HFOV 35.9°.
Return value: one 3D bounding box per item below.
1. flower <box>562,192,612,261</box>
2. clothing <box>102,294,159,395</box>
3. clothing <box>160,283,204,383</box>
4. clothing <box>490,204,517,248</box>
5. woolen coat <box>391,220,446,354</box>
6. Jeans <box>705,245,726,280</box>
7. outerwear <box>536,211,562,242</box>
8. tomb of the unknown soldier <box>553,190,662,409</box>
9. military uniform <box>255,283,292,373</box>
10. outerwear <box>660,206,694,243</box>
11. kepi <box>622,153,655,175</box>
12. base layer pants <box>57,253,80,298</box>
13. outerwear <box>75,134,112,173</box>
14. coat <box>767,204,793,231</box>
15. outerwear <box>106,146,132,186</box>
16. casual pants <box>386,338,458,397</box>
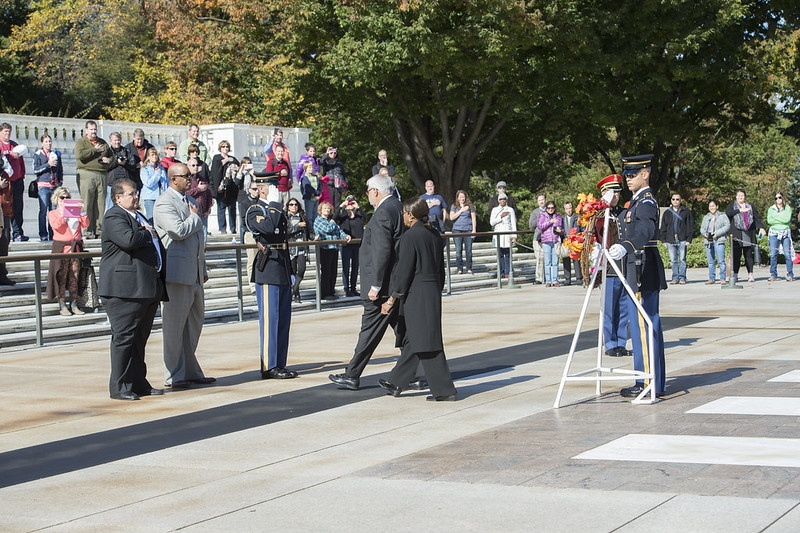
[{"bbox_3d":[2.667,-0.633,17.849,0.884,0.480,0.872,-5,45,-14],"label":"flower"},{"bbox_3d":[-3.929,1.214,18.117,0.786,1.487,0.456,-6,14,-14],"label":"clothing"},{"bbox_3d":[-3.284,1.011,18.745,0.294,1.569,0.771,10,18,42],"label":"clothing"},{"bbox_3d":[2.611,-0.992,31.224,0.713,1.019,0.342,-2,-15,11],"label":"clothing"},{"bbox_3d":[0.267,0.336,17.665,0.783,1.875,0.715,-4,13,-4],"label":"woolen coat"},{"bbox_3d":[7.859,-0.125,30.508,0.511,1.074,0.337,-4,-5,38],"label":"Jeans"},{"bbox_3d":[3.795,-0.982,31.035,0.748,0.809,0.505,2,-27,0],"label":"outerwear"},{"bbox_3d":[2.946,0.431,17.691,1.395,2.992,2.011,-1,13,7],"label":"tomb of the unknown soldier"},{"bbox_3d":[-1.927,0.963,19.122,0.496,1.356,0.429,-3,13,-3],"label":"military uniform"},{"bbox_3d":[6.872,-1.000,30.510,0.912,0.912,0.526,-2,-13,13],"label":"outerwear"},{"bbox_3d":[3.399,-1.453,17.629,0.381,0.181,0.332,3,1,-42],"label":"kepi"},{"bbox_3d":[-6.314,0.263,23.645,0.469,0.874,0.378,-3,13,-3],"label":"base layer pants"},{"bbox_3d":[-6.671,-2.404,26.868,0.900,0.837,0.617,-7,11,-41],"label":"outerwear"},{"bbox_3d":[9.520,-1.192,30.771,0.543,0.617,0.410,0,13,11],"label":"coat"},{"bbox_3d":[-5.988,-2.122,26.240,0.530,0.776,0.573,-6,13,-13],"label":"outerwear"},{"bbox_3d":[0.328,1.535,18.091,0.857,0.732,0.355,6,15,22],"label":"casual pants"}]
